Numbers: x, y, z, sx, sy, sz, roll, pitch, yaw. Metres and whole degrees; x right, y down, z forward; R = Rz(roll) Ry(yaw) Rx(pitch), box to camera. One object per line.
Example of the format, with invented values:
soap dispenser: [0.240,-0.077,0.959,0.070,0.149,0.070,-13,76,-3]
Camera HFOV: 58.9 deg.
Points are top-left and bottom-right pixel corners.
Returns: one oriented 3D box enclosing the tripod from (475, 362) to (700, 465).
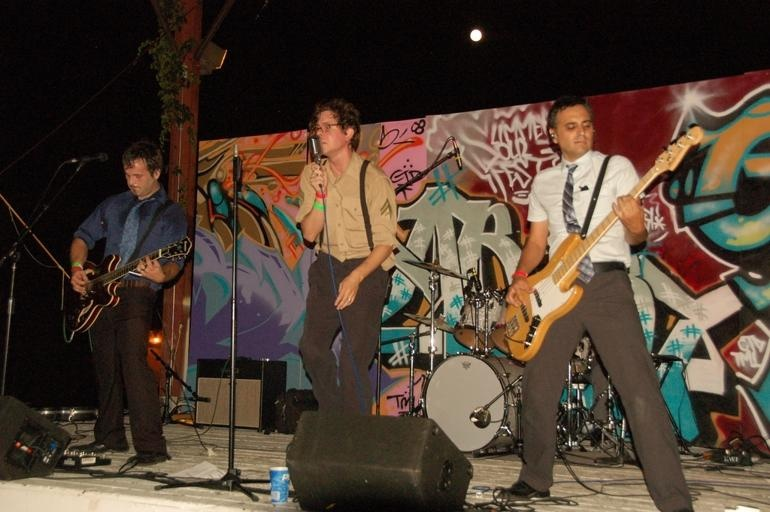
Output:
tripod: [2.138,1.813,7.955,1.749,1.247,2.332,3,-1,4]

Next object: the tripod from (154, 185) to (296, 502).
tripod: [-1.364,0.623,5.682,0.844,2.522,0.811,-1,2,-1]

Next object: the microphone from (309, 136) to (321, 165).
microphone: [-0.574,-0.877,5.686,0.072,0.249,0.070,-7,24,5]

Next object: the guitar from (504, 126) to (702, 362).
guitar: [2.174,-0.062,6.389,0.463,3.091,0.887,22,19,-35]

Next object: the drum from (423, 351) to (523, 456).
drum: [0.927,1.351,7.615,1.202,1.454,0.862,-1,-6,34]

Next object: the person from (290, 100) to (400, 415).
person: [-0.308,0.014,5.898,0.765,2.627,0.918,0,-8,1]

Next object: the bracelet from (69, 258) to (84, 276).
bracelet: [-3.004,0.108,6.658,0.112,0.151,0.151,-4,-3,2]

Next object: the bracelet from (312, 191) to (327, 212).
bracelet: [-0.551,-0.458,5.751,0.098,0.159,0.106,-1,2,-9]

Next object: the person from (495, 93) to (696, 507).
person: [1.571,0.343,5.474,1.149,3.287,0.700,-11,-18,25]

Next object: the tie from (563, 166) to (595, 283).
tie: [1.561,-0.303,5.522,0.166,1.053,0.191,0,0,2]

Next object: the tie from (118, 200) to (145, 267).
tie: [-2.470,-0.215,6.678,0.169,0.630,0.073,3,-19,11]
